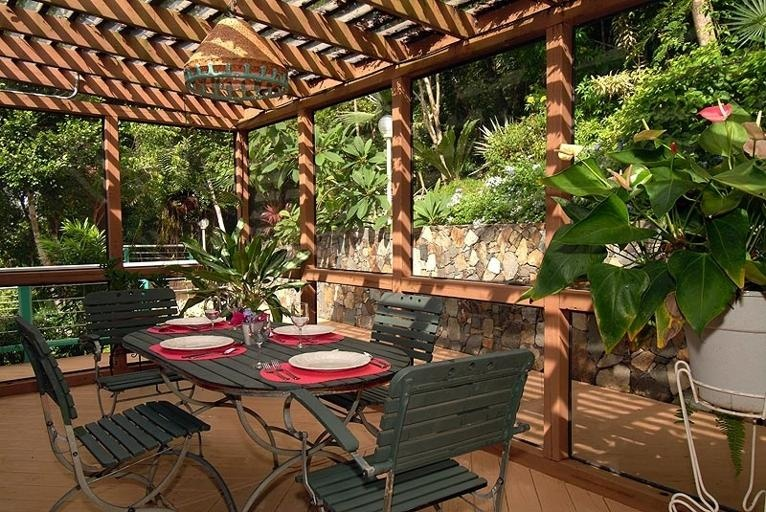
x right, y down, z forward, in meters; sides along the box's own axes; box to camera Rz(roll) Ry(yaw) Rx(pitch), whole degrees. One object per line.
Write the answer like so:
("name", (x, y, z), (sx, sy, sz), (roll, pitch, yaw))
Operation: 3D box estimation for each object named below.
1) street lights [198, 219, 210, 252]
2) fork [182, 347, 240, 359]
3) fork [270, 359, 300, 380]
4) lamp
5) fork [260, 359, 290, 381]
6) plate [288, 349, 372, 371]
("street lights", (-2.330, -0.305, 6.593), (0.111, 0.374, 0.163), (3, 9, 18))
("fork", (-1.037, 0.575, 3.021), (0.040, 0.039, 0.229), (33, 22, 36))
("fork", (-0.531, 0.600, 2.690), (0.063, 0.030, 0.230), (-7, 9, -30))
("lamp", (-0.905, -1.281, 3.111), (0.597, 0.575, 0.549), (-3, 9, -19))
("fork", (-0.578, 0.592, 2.721), (0.070, 0.032, 0.250), (-5, 9, -33))
("plate", (-0.285, 0.575, 2.786), (0.415, 0.041, 0.322), (-5, 10, -30))
